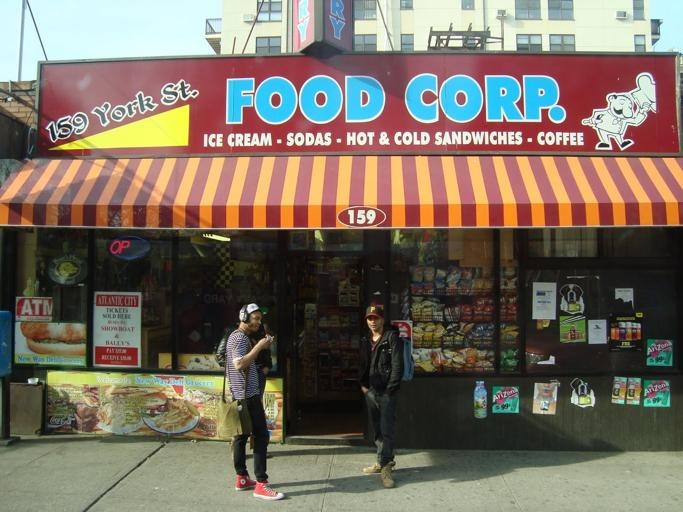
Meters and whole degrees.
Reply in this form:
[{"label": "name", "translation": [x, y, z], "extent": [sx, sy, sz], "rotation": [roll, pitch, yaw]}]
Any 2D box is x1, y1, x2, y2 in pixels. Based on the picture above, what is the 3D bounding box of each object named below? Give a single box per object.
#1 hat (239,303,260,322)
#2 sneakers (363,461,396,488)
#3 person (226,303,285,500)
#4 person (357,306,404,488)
[{"label": "hat", "translation": [-1.388, 0.802, 11.079], "extent": [0.340, 0.274, 0.258], "rotation": [-4, -11, -18]}, {"label": "sneakers", "translation": [0.601, 3.236, 11.284], "extent": [0.201, 0.279, 0.615], "rotation": [7, 6, -36]}, {"label": "person", "translation": [-1.294, 2.082, 10.917], "extent": [0.696, 2.631, 1.025], "rotation": [-2, 11, -13]}, {"label": "person", "translation": [0.624, 2.085, 11.393], "extent": [0.592, 2.479, 1.116], "rotation": [-3, 12, -18]}]
